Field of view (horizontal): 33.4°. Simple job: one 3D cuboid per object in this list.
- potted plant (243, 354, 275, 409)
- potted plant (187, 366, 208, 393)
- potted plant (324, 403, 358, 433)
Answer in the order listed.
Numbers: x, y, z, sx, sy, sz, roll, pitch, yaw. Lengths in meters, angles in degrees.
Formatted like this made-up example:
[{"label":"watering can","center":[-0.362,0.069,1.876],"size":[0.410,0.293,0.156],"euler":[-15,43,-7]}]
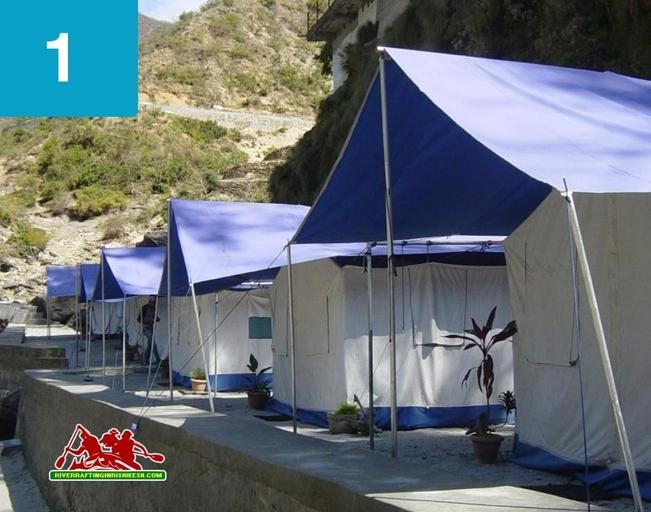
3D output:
[{"label":"potted plant","center":[-1.095,2.058,17.796],"size":[0.495,1.089,0.634],"euler":[-6,-8,44]},{"label":"potted plant","center":[-2.176,2.106,18.506],"size":[0.357,0.474,0.343],"euler":[4,-7,-31]},{"label":"potted plant","center":[0.253,2.262,15.085],"size":[0.298,0.304,0.398],"euler":[7,-15,-21]}]
